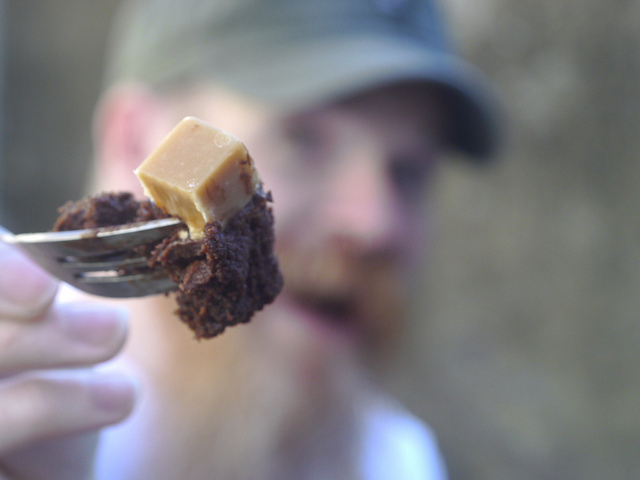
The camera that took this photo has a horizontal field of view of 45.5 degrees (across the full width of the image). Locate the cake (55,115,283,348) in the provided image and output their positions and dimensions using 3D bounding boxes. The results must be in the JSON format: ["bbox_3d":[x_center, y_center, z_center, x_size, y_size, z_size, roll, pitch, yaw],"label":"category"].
[{"bbox_3d":[-0.277,-0.019,1.378,0.381,0.277,0.381,-1,-71,-31],"label":"cake"}]
